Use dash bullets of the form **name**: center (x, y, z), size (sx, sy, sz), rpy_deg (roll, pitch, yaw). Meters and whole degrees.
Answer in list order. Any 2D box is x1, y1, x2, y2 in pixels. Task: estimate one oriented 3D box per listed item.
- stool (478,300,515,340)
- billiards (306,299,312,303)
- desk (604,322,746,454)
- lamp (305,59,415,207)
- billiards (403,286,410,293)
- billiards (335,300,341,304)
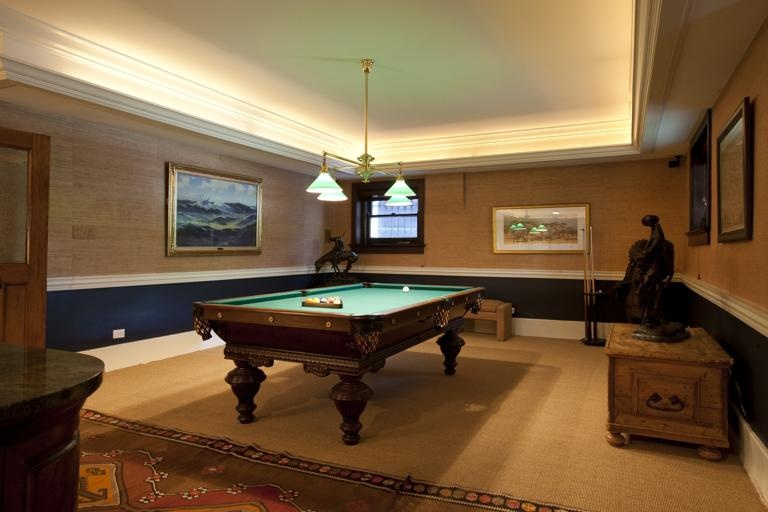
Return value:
- **stool**: center (1.811, 1.045, 7.861), size (0.495, 0.597, 0.619), rpy_deg (6, 10, 31)
- **billiards**: center (-0.698, 0.437, 4.609), size (0.042, 0.024, 0.045), rpy_deg (3, 6, 6)
- **desk**: center (2.554, 1.230, 4.572), size (1.039, 0.698, 1.277), rpy_deg (3, 1, 15)
- **lamp**: center (-0.198, -1.501, 5.568), size (1.627, 1.365, 1.420), rpy_deg (13, 23, 26)
- **billiards**: center (0.279, 0.422, 5.997), size (0.072, 0.037, 0.064), rpy_deg (-2, 4, -9)
- **billiards**: center (-0.421, 0.440, 4.562), size (0.041, 0.020, 0.038), rpy_deg (2, 5, 21)
